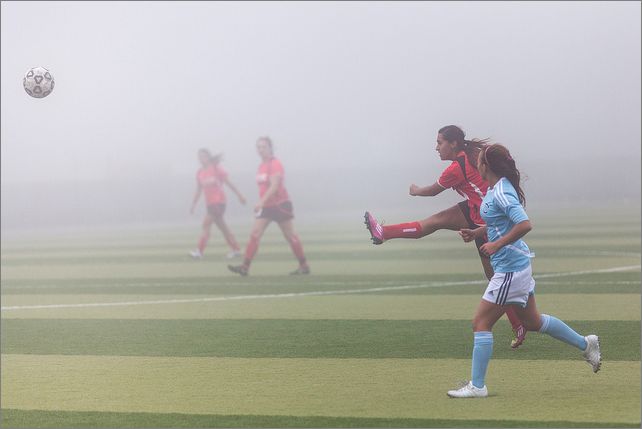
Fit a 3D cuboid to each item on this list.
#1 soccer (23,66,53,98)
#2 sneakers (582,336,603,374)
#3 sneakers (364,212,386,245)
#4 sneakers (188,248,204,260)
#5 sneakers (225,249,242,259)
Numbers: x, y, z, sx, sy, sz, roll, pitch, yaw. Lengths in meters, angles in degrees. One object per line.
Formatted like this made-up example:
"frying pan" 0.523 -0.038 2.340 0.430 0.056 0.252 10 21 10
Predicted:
"soccer" -5.204 -2.445 19.206 0.549 0.510 0.556 14 10 35
"sneakers" 3.892 1.993 14.971 0.288 0.540 0.212 -14 9 -2
"sneakers" 0.823 0.213 16.736 0.278 0.596 0.213 -23 3 -6
"sneakers" -2.484 0.793 20.761 0.349 0.214 0.131 15 -11 3
"sneakers" -1.714 0.800 20.791 0.366 0.136 0.121 -3 4 -23
